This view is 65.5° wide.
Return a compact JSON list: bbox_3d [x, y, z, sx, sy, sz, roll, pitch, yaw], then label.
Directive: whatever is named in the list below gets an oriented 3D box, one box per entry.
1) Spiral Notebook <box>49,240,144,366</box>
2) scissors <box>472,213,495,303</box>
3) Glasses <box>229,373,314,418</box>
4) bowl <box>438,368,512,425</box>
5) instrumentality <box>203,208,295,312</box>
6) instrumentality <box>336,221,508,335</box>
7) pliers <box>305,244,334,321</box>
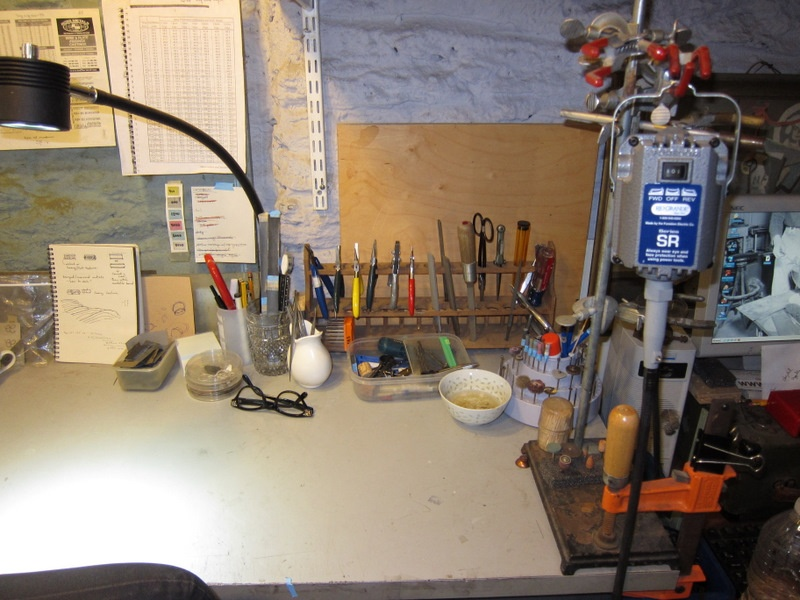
[{"bbox_3d":[-0.943,0.014,1.924,0.266,0.357,0.143,-3,19,-8],"label":"Spiral Notebook"},{"bbox_3d":[0.269,-0.146,1.964,0.111,0.240,0.031,3,7,34],"label":"scissors"},{"bbox_3d":[-0.351,0.274,1.754,0.253,0.066,0.123,5,18,16],"label":"Glasses"},{"bbox_3d":[0.207,0.273,1.700,0.188,0.116,0.171,0,17,0],"label":"bowl"},{"bbox_3d":[-0.415,-0.125,1.866,0.241,0.295,0.263,4,18,12],"label":"instrumentality"},{"bbox_3d":[0.085,-0.060,1.942,0.575,0.370,0.219,-2,18,-7],"label":"instrumentality"},{"bbox_3d":[-0.247,-0.059,1.917,0.029,0.242,0.068,-25,-7,37],"label":"pliers"}]
